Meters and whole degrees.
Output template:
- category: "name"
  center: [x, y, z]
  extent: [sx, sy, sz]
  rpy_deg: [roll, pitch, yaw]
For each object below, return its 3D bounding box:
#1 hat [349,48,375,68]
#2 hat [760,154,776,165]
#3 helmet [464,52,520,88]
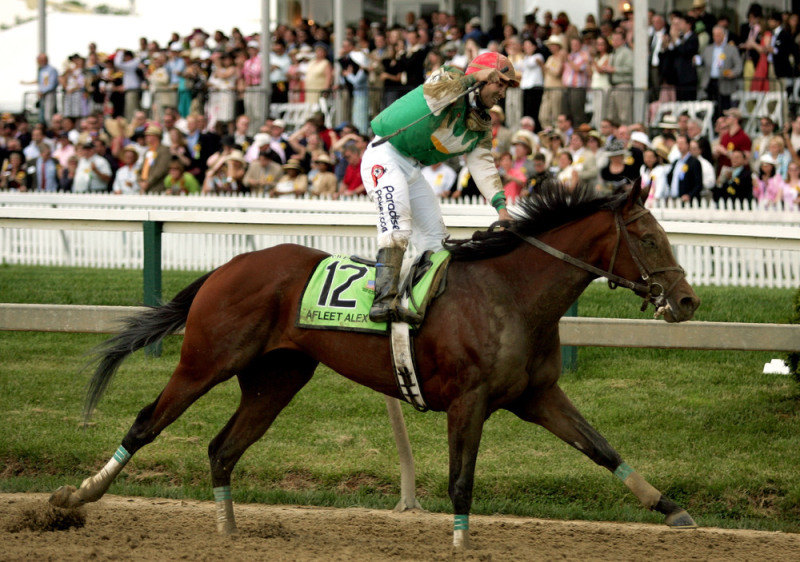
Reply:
- category: "hat"
  center: [-0.522, -2.999, 22.454]
  extent: [0.259, 0.064, 0.276]
  rpy_deg: [42, 33, 17]
- category: "hat"
  center: [4.279, -1.401, 19.093]
  extent: [0.136, 0.109, 0.162]
  rpy_deg: [-5, 9, -35]
- category: "helmet"
  center: [0.792, -1.768, 14.068]
  extent: [0.395, 0.230, 0.275]
  rpy_deg: [18, 7, 6]
